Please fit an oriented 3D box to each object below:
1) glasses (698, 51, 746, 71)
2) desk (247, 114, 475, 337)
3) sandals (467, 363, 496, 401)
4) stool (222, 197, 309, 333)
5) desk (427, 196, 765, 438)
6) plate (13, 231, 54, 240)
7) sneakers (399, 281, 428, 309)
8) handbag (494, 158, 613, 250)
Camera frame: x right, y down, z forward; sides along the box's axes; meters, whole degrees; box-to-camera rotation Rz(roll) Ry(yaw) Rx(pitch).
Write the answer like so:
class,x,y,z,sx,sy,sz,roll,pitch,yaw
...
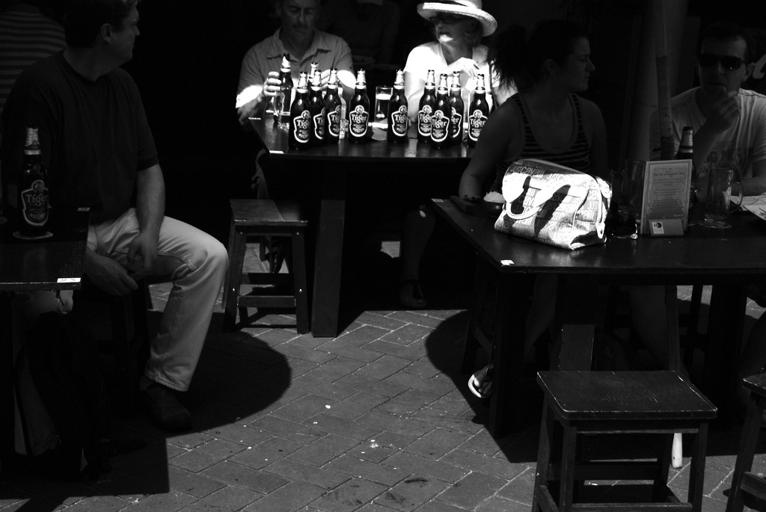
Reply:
class,x,y,z,sx,sy,sz,roll,pitch,yaw
glasses,2.404,-1.392,4.615,0.268,0.129,0.084,4,13,24
desk,-0.118,-0.474,5.021,2.004,1.388,1.690,-1,27,-11
sandals,0.651,0.806,4.151,0.097,0.233,0.148,-15,63,-50
stool,-0.941,0.042,5.198,0.676,0.995,0.814,-3,12,-8
desk,1.187,0.507,3.971,1.569,0.895,1.500,1,20,-7
plate,-1.670,-0.101,3.098,0.177,0.028,0.121,-4,12,-16
sneakers,0.250,0.325,5.463,0.284,0.262,0.168,2,4,11
handbag,0.898,-0.283,3.538,0.509,0.434,0.668,-10,21,-39
